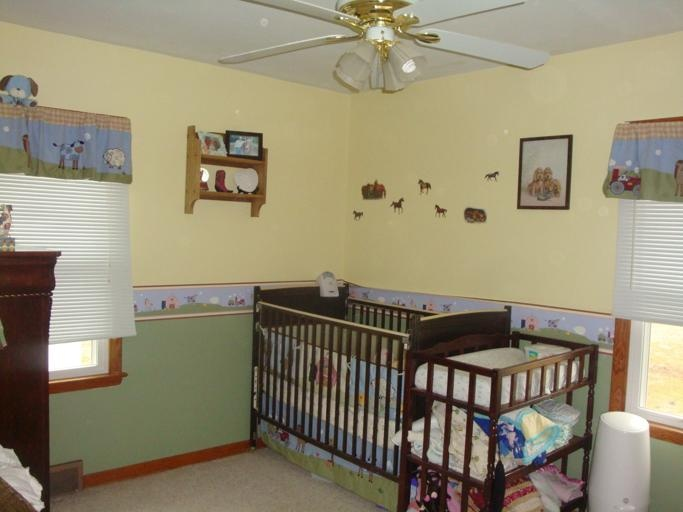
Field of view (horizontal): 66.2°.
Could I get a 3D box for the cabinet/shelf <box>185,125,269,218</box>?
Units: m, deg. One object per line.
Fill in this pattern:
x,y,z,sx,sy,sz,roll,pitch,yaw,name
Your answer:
-0.961,-0.709,4.314,0.747,0.801,0.220,1,-1,-41,cabinet/shelf

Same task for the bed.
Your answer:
0.176,0.913,4.458,1.401,2.016,2.281,0,4,-38,bed

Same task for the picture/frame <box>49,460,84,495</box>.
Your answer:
-1.981,1.605,3.810,0.201,0.200,0.049,2,-2,-44,picture/frame

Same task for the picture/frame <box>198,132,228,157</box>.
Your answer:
-1.027,-0.900,4.214,0.228,0.186,0.127,-1,7,-16,picture/frame
